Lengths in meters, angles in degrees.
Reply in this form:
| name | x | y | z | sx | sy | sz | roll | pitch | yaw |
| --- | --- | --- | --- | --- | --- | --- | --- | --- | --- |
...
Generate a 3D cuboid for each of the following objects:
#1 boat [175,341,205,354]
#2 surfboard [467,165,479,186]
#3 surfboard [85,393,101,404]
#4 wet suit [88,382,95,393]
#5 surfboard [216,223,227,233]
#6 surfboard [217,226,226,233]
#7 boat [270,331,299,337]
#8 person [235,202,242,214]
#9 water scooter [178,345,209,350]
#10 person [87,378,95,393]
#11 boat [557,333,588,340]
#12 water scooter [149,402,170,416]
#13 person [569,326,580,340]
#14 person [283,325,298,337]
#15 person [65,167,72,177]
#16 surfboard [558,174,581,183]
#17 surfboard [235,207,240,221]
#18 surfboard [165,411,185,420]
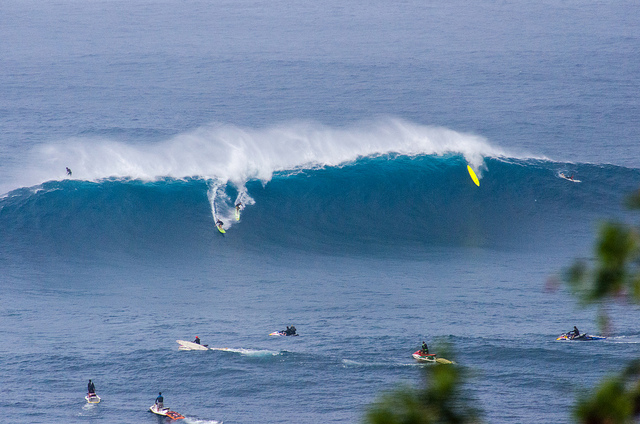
| name | x | y | z | sx | sy | sz | roll | pitch | yaw |
| --- | --- | --- | --- | --- | --- | --- | --- | --- | --- |
| boat | -8.461 | 8.873 | 75.995 | 2.024 | 0.382 | 0.241 | 14 | -14 | 8 |
| surfboard | 11.857 | -2.813 | 89.724 | 0.440 | 1.797 | 0.207 | -29 | -23 | -25 |
| surfboard | -14.300 | 11.731 | 73.359 | 0.914 | 0.657 | 0.420 | -2 | 2 | -3 |
| wet suit | -14.451 | 11.049 | 73.437 | 0.327 | 0.640 | 0.276 | 6 | 17 | 2 |
| surfboard | -7.175 | 1.181 | 84.365 | 0.306 | 0.183 | 1.160 | -20 | 50 | -39 |
| surfboard | -7.224 | 1.220 | 84.386 | 0.745 | 0.126 | 0.242 | 42 | 32 | 26 |
| boat | -2.383 | 8.079 | 77.036 | 1.673 | 0.341 | 0.503 | 4 | -4 | 4 |
| person | -6.030 | -0.514 | 85.877 | 0.259 | 0.255 | 0.769 | 23 | 32 | -12 |
| water scooter | -8.394 | 8.809 | 76.060 | 1.760 | 0.268 | 0.271 | -1 | 2 | -2 |
| person | -14.451 | 10.983 | 73.474 | 0.409 | 0.765 | 0.370 | -7 | 18 | -31 |
| boat | 16.441 | 8.081 | 75.892 | 1.891 | 0.434 | 0.487 | -3 | -9 | 1 |
| water scooter | -10.057 | 12.347 | 72.861 | 1.122 | 0.296 | 0.699 | 12 | 7 | 16 |
| person | 16.645 | 7.848 | 76.066 | 0.608 | 0.817 | 1.079 | -2 | 1 | 12 |
| person | -1.953 | 7.849 | 76.983 | 0.747 | 0.644 | 0.264 | 3 | 2 | 3 |
| person | -18.958 | -3.064 | 87.698 | 0.524 | 0.719 | 1.674 | -3 | 2 | -12 |
| surfboard | 19.198 | -2.632 | 89.748 | 2.074 | 0.525 | 0.303 | 12 | -1 | 7 |
| surfboard | -6.118 | 0.119 | 85.897 | 0.346 | 0.922 | 0.712 | -3 | 2 | -4 |
| surfboard | -9.059 | 12.682 | 72.686 | 1.070 | 0.487 | 0.413 | -2 | 2 | -18 |
